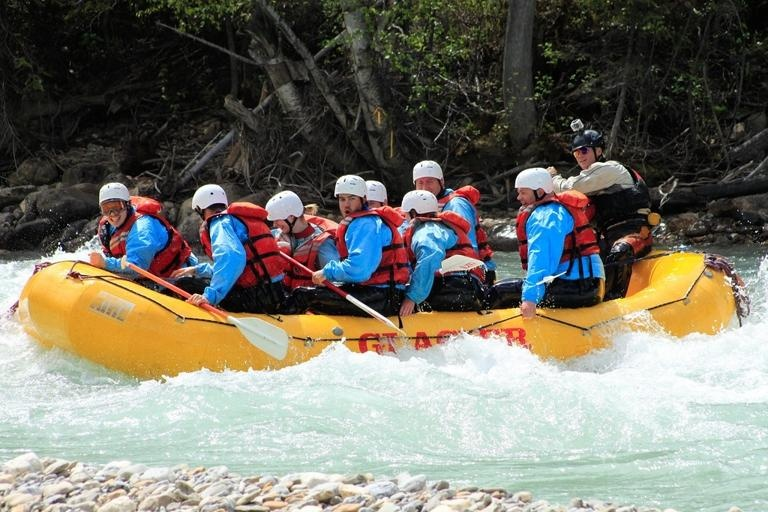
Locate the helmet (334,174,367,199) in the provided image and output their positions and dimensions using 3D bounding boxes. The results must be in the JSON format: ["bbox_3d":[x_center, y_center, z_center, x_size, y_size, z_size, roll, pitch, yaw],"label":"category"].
[{"bbox_3d":[-0.371,-0.802,9.795,0.251,0.242,0.327,-4,-21,21],"label":"helmet"}]

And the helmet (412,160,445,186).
[{"bbox_3d":[0.553,-1.094,10.797,0.305,0.368,0.345,0,-1,4],"label":"helmet"}]

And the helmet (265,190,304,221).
[{"bbox_3d":[-1.161,-0.595,10.018,0.424,0.320,0.312,-28,20,-5],"label":"helmet"}]

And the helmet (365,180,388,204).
[{"bbox_3d":[-0.111,-0.792,10.436,0.299,0.254,0.219,-12,24,-43],"label":"helmet"}]

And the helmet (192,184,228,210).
[{"bbox_3d":[-2.024,-0.686,9.849,0.382,0.328,0.296,1,-2,14],"label":"helmet"}]

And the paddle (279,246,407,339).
[{"bbox_3d":[-0.430,0.450,9.695,1.701,0.191,0.155,32,-22,9],"label":"paddle"}]

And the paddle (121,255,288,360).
[{"bbox_3d":[-1.968,0.618,9.436,2.554,0.350,0.123,23,-14,-1],"label":"paddle"}]

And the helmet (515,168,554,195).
[{"bbox_3d":[1.754,-0.900,9.950,0.390,0.280,0.291,15,-3,11],"label":"helmet"}]

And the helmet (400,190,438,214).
[{"bbox_3d":[0.421,-0.640,10.019,0.365,0.190,0.267,-3,5,21],"label":"helmet"}]
